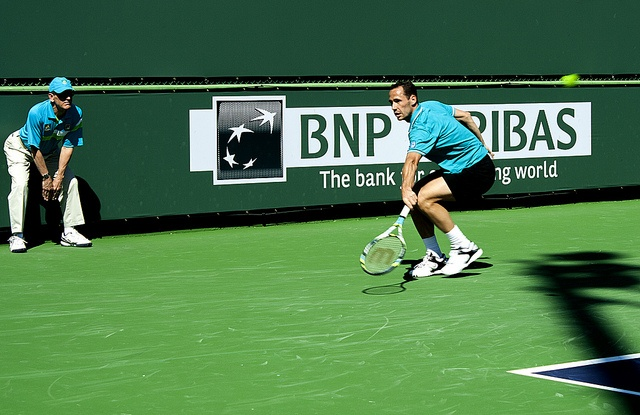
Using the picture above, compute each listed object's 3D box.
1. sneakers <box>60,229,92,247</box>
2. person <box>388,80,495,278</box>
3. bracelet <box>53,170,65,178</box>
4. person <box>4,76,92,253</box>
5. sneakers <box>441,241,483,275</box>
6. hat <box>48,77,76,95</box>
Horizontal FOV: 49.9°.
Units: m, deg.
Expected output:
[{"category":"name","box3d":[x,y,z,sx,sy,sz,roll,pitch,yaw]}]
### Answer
[{"category":"sneakers","box3d":[-3.367,0.426,9.401,0.490,0.231,0.185,2,5,13]},{"category":"person","box3d":[1.364,-0.302,7.742,1.249,2.181,0.610,-5,11,-24]},{"category":"bracelet","box3d":[-3.462,-0.441,9.118,0.124,0.118,0.158,-5,11,-20]},{"category":"person","box3d":[-3.676,-0.556,9.152,1.029,2.284,0.549,-4,11,-19]},{"category":"sneakers","box3d":[1.632,0.490,7.836,0.582,0.254,0.219,-24,16,-38]},{"category":"hat","box3d":[-3.361,-1.572,8.895,0.259,0.200,0.186,6,12,31]}]
